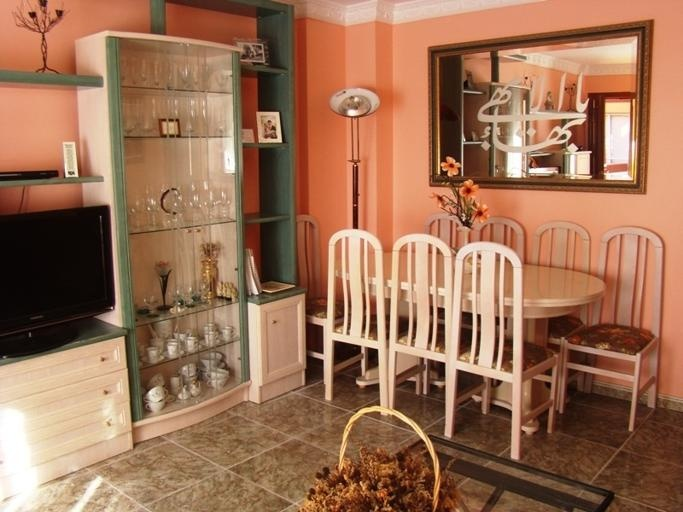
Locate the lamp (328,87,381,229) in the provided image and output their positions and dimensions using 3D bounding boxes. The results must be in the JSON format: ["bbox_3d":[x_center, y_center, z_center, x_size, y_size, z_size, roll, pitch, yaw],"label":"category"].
[{"bbox_3d":[0.117,-0.841,4.911,0.408,1.255,0.454,-1,14,2],"label":"lamp"}]

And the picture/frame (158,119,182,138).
[{"bbox_3d":[-1.117,-0.819,3.580,0.017,0.105,0.134,12,16,41],"label":"picture/frame"}]

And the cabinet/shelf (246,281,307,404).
[{"bbox_3d":[-0.501,0.670,4.221,0.514,0.790,0.153,-14,19,-43],"label":"cabinet/shelf"}]

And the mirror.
[{"bbox_3d":[1.596,-1.151,4.307,1.639,1.045,0.041,9,18,43],"label":"mirror"}]

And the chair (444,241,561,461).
[{"bbox_3d":[1.081,0.504,3.724,0.715,1.319,1.041,4,14,20],"label":"chair"}]
